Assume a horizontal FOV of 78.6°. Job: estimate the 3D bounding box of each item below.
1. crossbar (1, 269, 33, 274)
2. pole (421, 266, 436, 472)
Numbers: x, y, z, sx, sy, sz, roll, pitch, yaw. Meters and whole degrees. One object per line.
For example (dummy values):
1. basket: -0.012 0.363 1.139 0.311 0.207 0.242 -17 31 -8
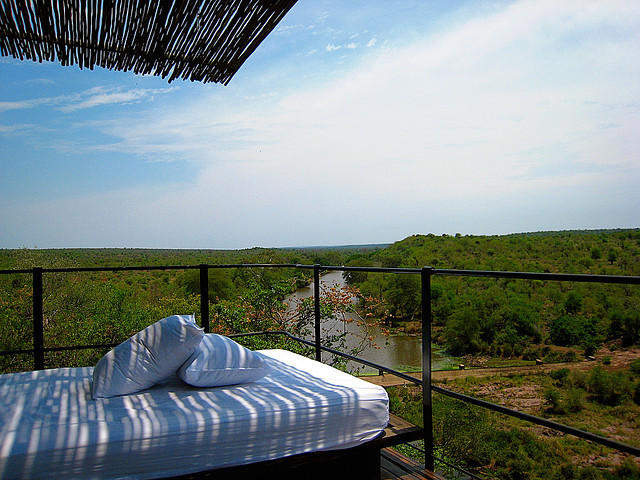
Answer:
1. crossbar: -2.311 0.244 2.979 0.198 0.032 0.160 -1 0 -42
2. pole: 0.613 0.742 2.345 0.113 1.132 0.098 0 5 19
